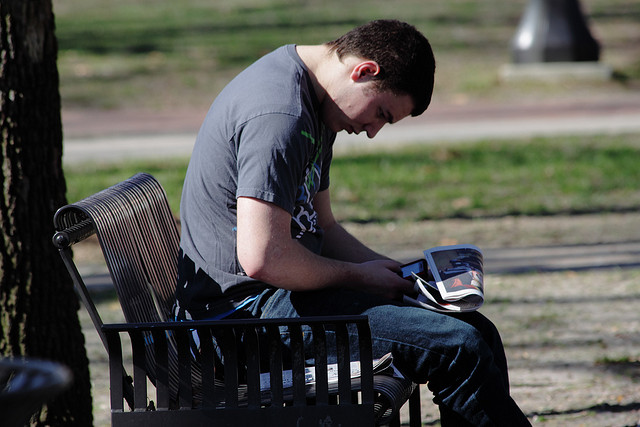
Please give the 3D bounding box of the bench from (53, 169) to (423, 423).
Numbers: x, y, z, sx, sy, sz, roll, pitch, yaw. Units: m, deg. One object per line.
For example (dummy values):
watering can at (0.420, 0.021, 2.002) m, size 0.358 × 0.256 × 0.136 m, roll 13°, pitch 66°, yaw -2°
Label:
bench at (-0.678, 0.758, 16.563) m, size 2.999 × 3.283 × 2.365 m, roll -1°, pitch 3°, yaw 9°
